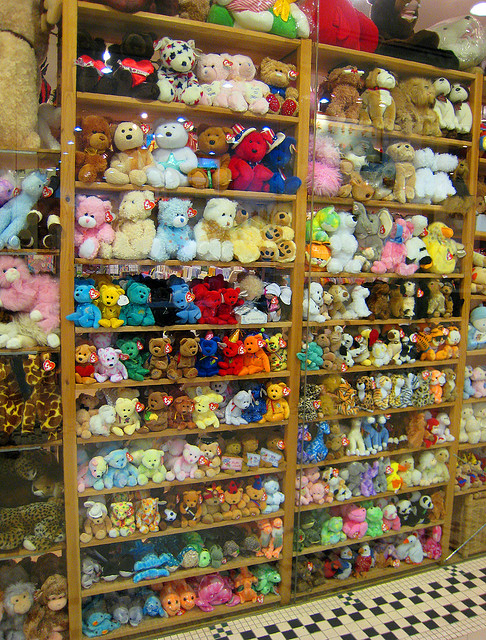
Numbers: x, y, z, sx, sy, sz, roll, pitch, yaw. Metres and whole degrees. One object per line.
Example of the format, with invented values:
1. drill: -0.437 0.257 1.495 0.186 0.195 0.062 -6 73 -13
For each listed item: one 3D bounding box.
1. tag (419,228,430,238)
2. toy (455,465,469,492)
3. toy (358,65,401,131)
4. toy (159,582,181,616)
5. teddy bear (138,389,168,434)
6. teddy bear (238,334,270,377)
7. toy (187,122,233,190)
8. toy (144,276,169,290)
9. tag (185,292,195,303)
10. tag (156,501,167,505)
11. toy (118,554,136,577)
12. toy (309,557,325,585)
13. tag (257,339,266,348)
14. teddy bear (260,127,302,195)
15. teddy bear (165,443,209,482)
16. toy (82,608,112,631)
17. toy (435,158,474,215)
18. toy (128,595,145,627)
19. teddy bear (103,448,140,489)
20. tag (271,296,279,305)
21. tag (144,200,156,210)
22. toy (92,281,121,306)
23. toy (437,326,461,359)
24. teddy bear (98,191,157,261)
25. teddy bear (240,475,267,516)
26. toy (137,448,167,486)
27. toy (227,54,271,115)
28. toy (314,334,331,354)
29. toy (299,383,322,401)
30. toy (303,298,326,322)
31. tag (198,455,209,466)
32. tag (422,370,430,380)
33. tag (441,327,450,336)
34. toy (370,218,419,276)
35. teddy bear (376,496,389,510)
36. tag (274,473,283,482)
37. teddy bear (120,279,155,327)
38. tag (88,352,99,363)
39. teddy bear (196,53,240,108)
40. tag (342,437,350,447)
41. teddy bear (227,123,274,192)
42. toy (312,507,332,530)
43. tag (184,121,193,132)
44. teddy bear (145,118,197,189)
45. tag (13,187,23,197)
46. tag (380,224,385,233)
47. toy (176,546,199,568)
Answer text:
1. tag: 0.848 -0.407 2.447 0.041 0.037 0.012 23 -8 -25
2. toy: 1.099 0.797 2.644 0.085 0.124 0.023 1 6 -27
3. toy: 0.586 -0.976 2.332 0.217 0.258 0.190 -5 14 -27
4. toy: -0.286 1.077 2.037 0.074 0.046 0.101 11 30 -31
5. teddy bear: -0.346 0.343 1.975 0.131 0.161 0.127 -1 25 -22
6. teddy bear: 0.024 0.135 2.113 0.151 0.159 0.117 -10 7 -27
7. toy: -0.118 -0.618 1.989 0.184 0.239 0.188 14 18 40
8. toy: -0.324 -0.136 1.926 0.065 0.043 0.029 0 2 -11
9. tag: -0.196 -0.086 1.944 0.035 0.033 0.010 22 -17 -31
10. tag: -0.314 0.703 2.028 0.047 0.012 0.010 0 -7 -19
11. toy: -0.441 0.926 1.987 0.072 0.076 0.035 -4 6 -24
12. toy: 0.336 1.103 2.329 0.082 0.101 0.046 -7 -4 41
13. tag: 0.076 0.091 2.091 0.033 0.029 0.008 -2 -3 -36
14. teddy bear: 0.136 -0.630 2.114 0.201 0.242 0.193 5 15 1
15. teddy bear: -0.227 0.550 2.040 0.112 0.116 0.080 29 19 -39
16. toy: -0.541 1.107 1.951 0.106 0.061 0.040 2 6 -18
17. toy: 1.043 -0.653 2.578 0.136 0.296 0.176 6 2 -2
18. toy: -0.407 1.110 2.000 0.052 0.030 0.092 16 42 -14
19. teddy bear: -0.457 0.555 1.949 0.139 0.125 0.098 -6 10 -37
20. tag: 0.129 -0.079 2.135 0.028 0.026 0.008 2 11 -30
21. tag: -0.340 -0.418 1.899 0.041 0.033 0.005 -7 -1 -28
22. toy: -0.492 -0.090 1.869 0.092 0.081 0.025 5 -9 -13
23. toy: 0.987 0.104 2.534 0.093 0.192 0.139 2 -8 41
24. teddy bear: -0.428 -0.349 1.915 0.230 0.257 0.218 6 18 5
25. teddy bear: 0.044 0.729 2.184 0.114 0.158 0.092 6 7 -16
26. toy: -0.353 0.558 1.993 0.130 0.125 0.098 2 24 -27
27. toy: 0.009 -0.923 2.052 0.205 0.219 0.178 22 27 37
28. toy: 0.334 0.102 2.278 0.084 0.100 0.073 -2 5 -16
29. toy: 0.291 0.306 2.234 0.087 0.064 0.036 -21 6 -17
30. toy: 0.303 -0.048 2.212 0.089 0.106 0.100 3 12 21
31. tag: -0.156 0.548 2.056 0.044 0.038 0.027 3 2 -37
32. tag: 0.866 0.258 2.482 0.039 0.036 0.010 13 -8 -21
33. tag: 0.972 0.055 2.519 0.011 0.037 0.039 -24 -55 40
34. toy: 0.671 -0.332 2.367 0.217 0.248 0.161 -1 14 -12
35. teddy bear: 0.648 0.851 2.445 0.045 0.040 0.057 -1 5 21
36. tag: 0.157 0.670 2.246 0.034 0.030 0.008 0 1 -17
37. teddy bear: -0.381 -0.059 1.888 0.127 0.165 0.110 2 14 -27
38. tag: -0.533 0.135 1.869 0.036 0.032 0.008 2 0 -32
39. teddy bear: -0.117 -0.909 2.017 0.187 0.199 0.151 3 10 -13
40. tag: 0.456 0.542 2.334 0.039 0.036 0.009 2 0 -22
41. teddy bear: 0.033 -0.630 2.076 0.187 0.261 0.154 6 25 -8
42. toy: 0.350 0.870 2.331 0.097 0.088 0.045 6 3 -16
43. tag: -0.203 -0.718 1.953 0.009 0.035 0.038 10 1 39
44. teddy bear: -0.268 -0.624 1.951 0.198 0.241 0.204 8 30 7
45. tag: -0.773 -0.434 1.783 0.028 0.028 0.008 -9 11 -16
46. tag: 0.615 -0.397 2.314 0.022 0.027 0.008 0 5 -20
47. toy: -0.214 0.931 2.066 0.073 0.070 0.088 0 -5 -23
